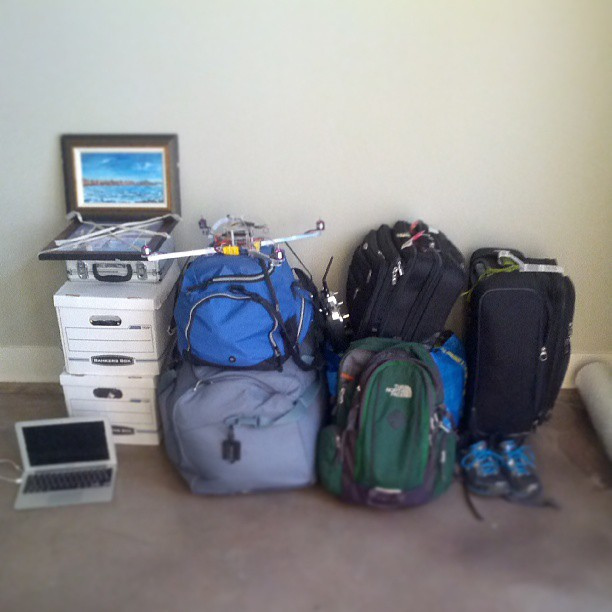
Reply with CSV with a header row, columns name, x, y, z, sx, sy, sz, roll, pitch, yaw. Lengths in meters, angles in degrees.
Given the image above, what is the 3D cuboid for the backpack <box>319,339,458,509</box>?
name,x,y,z,sx,sy,sz,roll,pitch,yaw
backpack,0.282,0.403,2.033,0.463,0.485,0.307,10,24,16

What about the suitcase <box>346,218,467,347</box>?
name,x,y,z,sx,sy,sz,roll,pitch,yaw
suitcase,0.372,-0.089,2.263,0.425,0.410,0.424,4,24,3

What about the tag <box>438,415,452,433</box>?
name,x,y,z,sx,sy,sz,roll,pitch,yaw
tag,0.464,0.389,1.958,0.034,0.056,0.013,-7,1,-17

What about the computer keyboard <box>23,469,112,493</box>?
name,x,y,z,sx,sy,sz,roll,pitch,yaw
computer keyboard,-0.844,0.619,2.106,0.294,0.027,0.073,-1,26,-8

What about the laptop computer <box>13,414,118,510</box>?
name,x,y,z,sx,sy,sz,roll,pitch,yaw
laptop computer,-0.831,0.522,2.045,0.313,0.236,0.262,-1,11,-11

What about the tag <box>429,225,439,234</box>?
name,x,y,z,sx,sy,sz,roll,pitch,yaw
tag,0.500,-0.302,2.330,0.024,0.030,0.089,8,8,20

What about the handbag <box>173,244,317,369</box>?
name,x,y,z,sx,sy,sz,roll,pitch,yaw
handbag,-0.212,0.005,1.965,0.373,0.312,0.440,-2,48,-8
